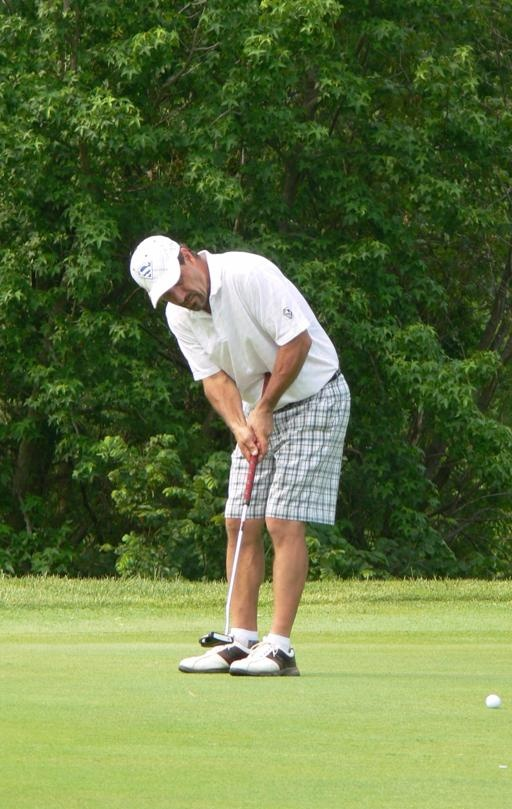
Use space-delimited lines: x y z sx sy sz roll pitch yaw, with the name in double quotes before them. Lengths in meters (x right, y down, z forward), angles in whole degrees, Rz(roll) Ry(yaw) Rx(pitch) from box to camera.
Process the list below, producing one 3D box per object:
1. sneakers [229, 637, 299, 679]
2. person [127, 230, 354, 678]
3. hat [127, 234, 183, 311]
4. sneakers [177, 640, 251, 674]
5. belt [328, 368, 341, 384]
"sneakers" 0.017 0.824 4.716 0.218 0.105 0.100 0 -11 -4
"person" -0.069 0.155 5.029 0.729 1.433 0.776 4 3 5
"hat" -0.335 -0.467 4.956 0.162 0.245 0.130 -23 -46 30
"sneakers" -0.144 0.830 4.790 0.246 0.097 0.087 -3 4 -42
"belt" 0.263 -0.106 5.120 0.017 0.051 0.038 24 -5 18
